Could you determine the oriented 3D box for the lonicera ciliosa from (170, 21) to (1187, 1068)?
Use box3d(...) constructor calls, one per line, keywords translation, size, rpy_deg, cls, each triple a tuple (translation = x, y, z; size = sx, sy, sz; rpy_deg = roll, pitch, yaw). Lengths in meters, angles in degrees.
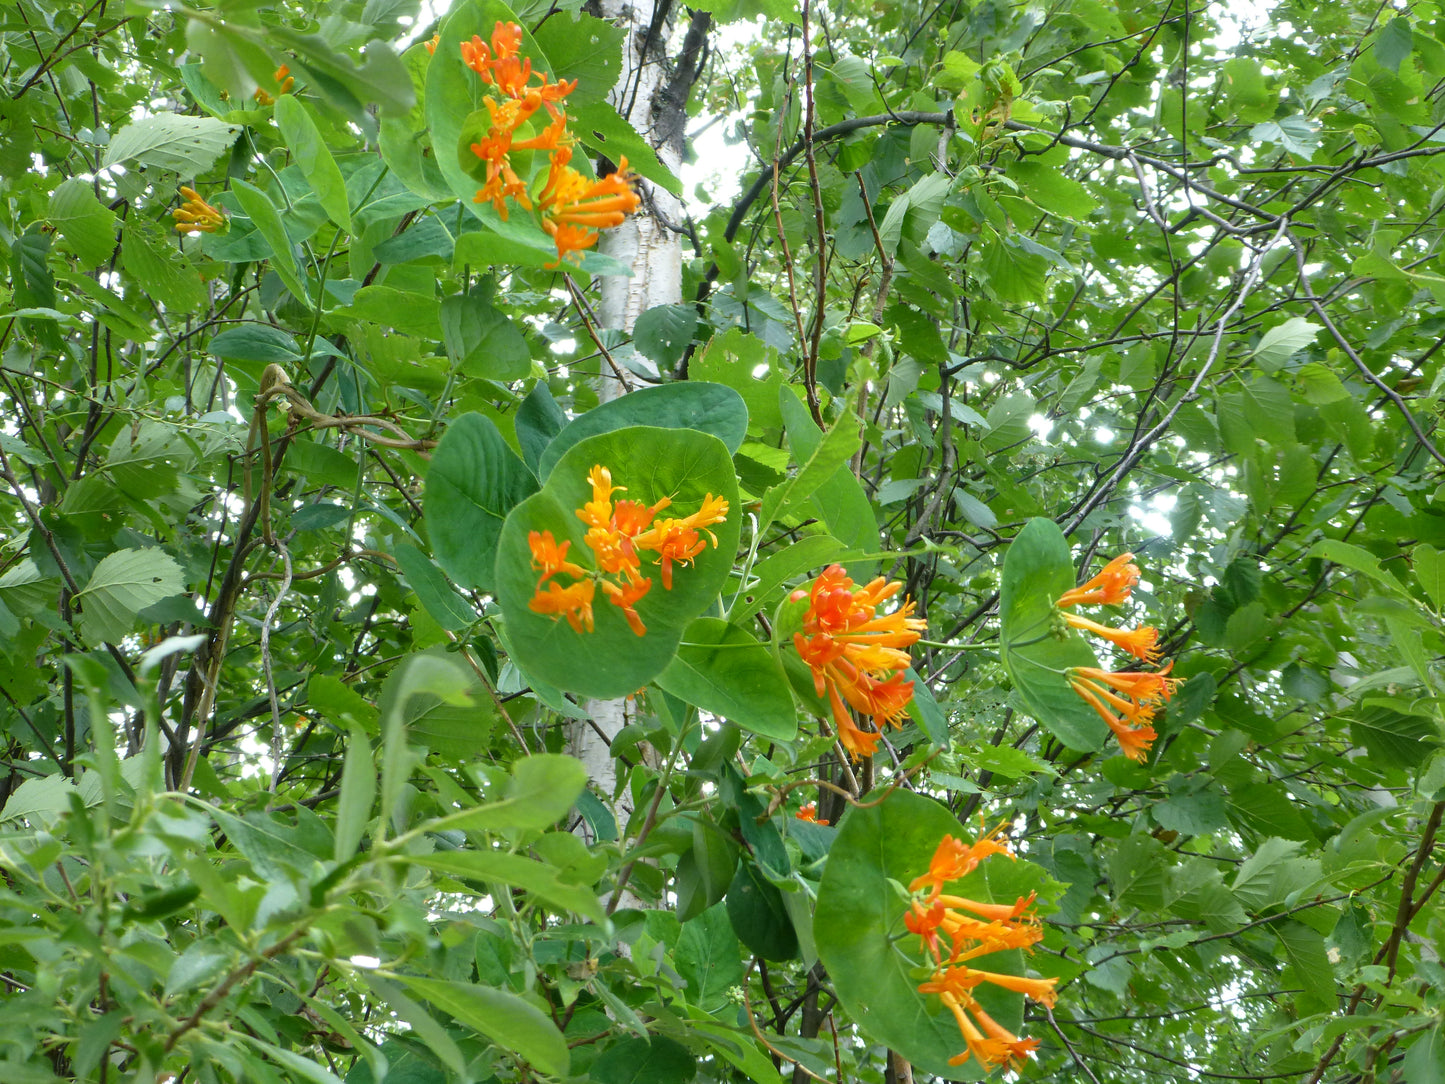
box3d(translation=(-0.157, -0.238, 4.129), size=(2.688, 0.727, 2.644), rpy_deg=(9, 77, -32), cls="lonicera ciliosa")
